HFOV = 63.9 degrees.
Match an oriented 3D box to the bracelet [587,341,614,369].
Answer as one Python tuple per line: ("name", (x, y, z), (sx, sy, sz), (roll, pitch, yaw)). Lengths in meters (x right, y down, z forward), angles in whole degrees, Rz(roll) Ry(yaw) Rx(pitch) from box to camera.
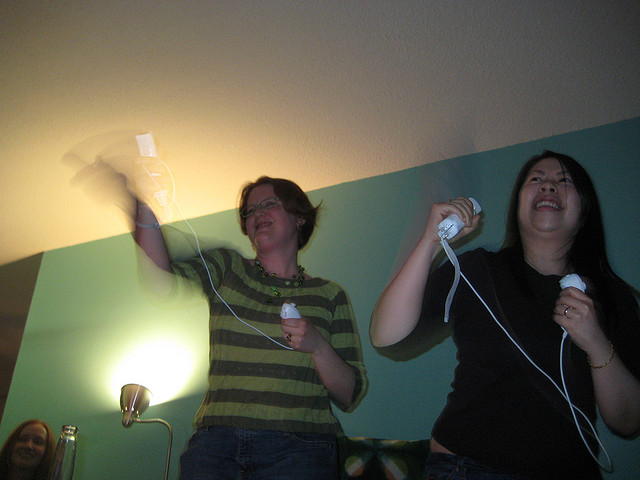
("bracelet", (0.995, 0.406, 1.798), (0.021, 0.091, 0.087), (41, -53, -18))

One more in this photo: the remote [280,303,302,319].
("remote", (-0.098, 0.234, 1.695), (0.063, 0.061, 0.041), (-1, -11, -22))

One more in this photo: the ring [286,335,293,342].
("ring", (-0.100, 0.321, 1.671), (0.013, 0.018, 0.006), (8, -6, 8))

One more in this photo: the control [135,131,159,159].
("control", (-0.577, -0.321, 1.706), (0.078, 0.102, 0.030), (-3, -17, -2))

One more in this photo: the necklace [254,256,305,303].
("necklace", (-0.156, 0.151, 1.961), (0.194, 0.213, 0.170), (-2, -18, -4))

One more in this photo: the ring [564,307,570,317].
("ring", (0.857, 0.251, 1.785), (0.006, 0.023, 0.024), (18, -8, 1))

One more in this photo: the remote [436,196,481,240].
("remote", (0.476, -0.054, 1.820), (0.236, 0.076, 0.073), (-41, 15, -27))

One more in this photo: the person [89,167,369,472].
("person", (-0.280, 0.233, 1.859), (0.869, 1.136, 0.443), (2, -18, -15))
